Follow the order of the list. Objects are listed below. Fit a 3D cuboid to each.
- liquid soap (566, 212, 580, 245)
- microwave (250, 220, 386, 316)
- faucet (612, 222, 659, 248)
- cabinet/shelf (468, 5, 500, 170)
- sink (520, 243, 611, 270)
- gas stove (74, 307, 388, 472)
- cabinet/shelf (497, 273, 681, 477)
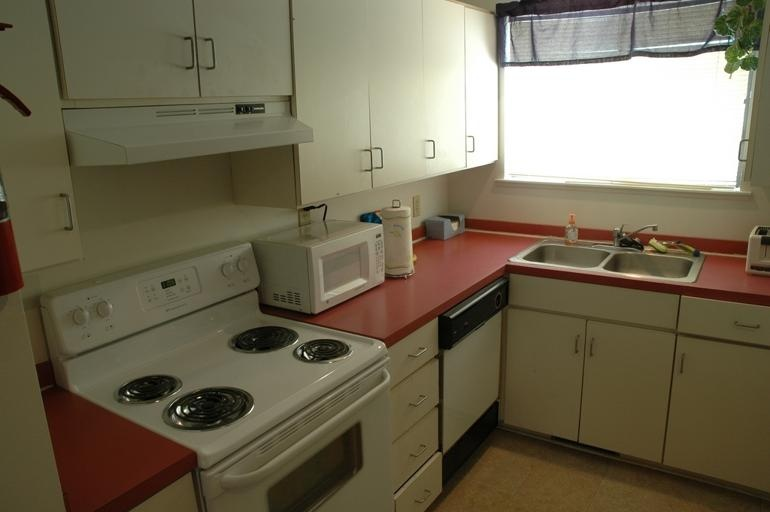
[{"bbox_3d":[1.241,-0.198,3.595,0.084,0.187,0.180,4,19,18],"label":"liquid soap"},{"bbox_3d":[-0.342,-0.084,2.689,0.443,0.370,0.600,7,18,27],"label":"microwave"},{"bbox_3d":[1.571,-0.144,3.410,0.253,0.148,0.214,7,20,25],"label":"faucet"},{"bbox_3d":[0.630,-1.106,3.565,0.126,0.960,0.520,7,20,26],"label":"cabinet/shelf"},{"bbox_3d":[1.174,-0.012,3.497,0.317,0.114,0.270,5,19,29],"label":"sink"},{"bbox_3d":[-0.664,0.483,2.147,0.714,0.445,0.700,8,17,29],"label":"gas stove"},{"bbox_3d":[1.207,0.658,3.116,0.983,1.127,0.577,5,11,23],"label":"cabinet/shelf"}]
